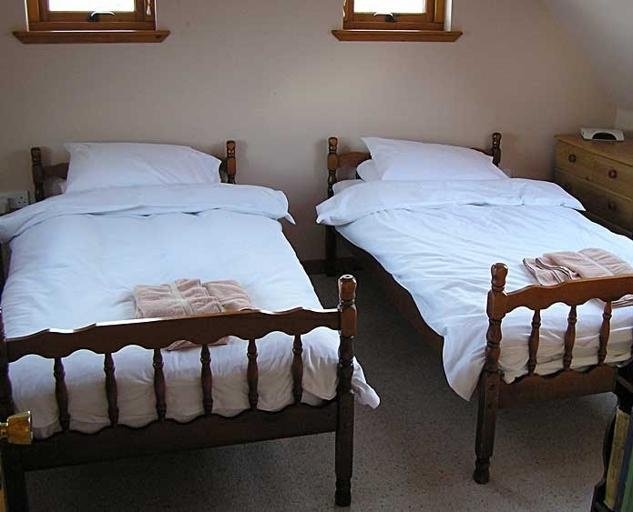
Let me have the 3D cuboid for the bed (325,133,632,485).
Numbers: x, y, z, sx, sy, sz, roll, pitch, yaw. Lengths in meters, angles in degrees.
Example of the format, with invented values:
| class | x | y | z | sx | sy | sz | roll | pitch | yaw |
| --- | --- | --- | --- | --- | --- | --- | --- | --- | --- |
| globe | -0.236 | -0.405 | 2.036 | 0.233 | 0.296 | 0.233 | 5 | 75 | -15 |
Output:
| class | x | y | z | sx | sy | sz | roll | pitch | yaw |
| --- | --- | --- | --- | --- | --- | --- | --- | --- | --- |
| bed | 0.507 | 0.157 | 2.699 | 0.889 | 0.892 | 1.781 | -6 | 31 | -12 |

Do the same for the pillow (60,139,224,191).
| class | x | y | z | sx | sy | sz | roll | pitch | yaw |
| --- | --- | --- | --- | --- | --- | --- | --- | --- | --- |
| pillow | -1.071 | -0.562 | 3.251 | 0.655 | 0.185 | 0.403 | -2 | 48 | -22 |

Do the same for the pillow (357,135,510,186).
| class | x | y | z | sx | sy | sz | roll | pitch | yaw |
| --- | --- | --- | --- | --- | --- | --- | --- | --- | --- |
| pillow | 0.710 | -0.602 | 3.511 | 0.542 | 0.140 | 0.498 | 7 | 33 | -15 |
